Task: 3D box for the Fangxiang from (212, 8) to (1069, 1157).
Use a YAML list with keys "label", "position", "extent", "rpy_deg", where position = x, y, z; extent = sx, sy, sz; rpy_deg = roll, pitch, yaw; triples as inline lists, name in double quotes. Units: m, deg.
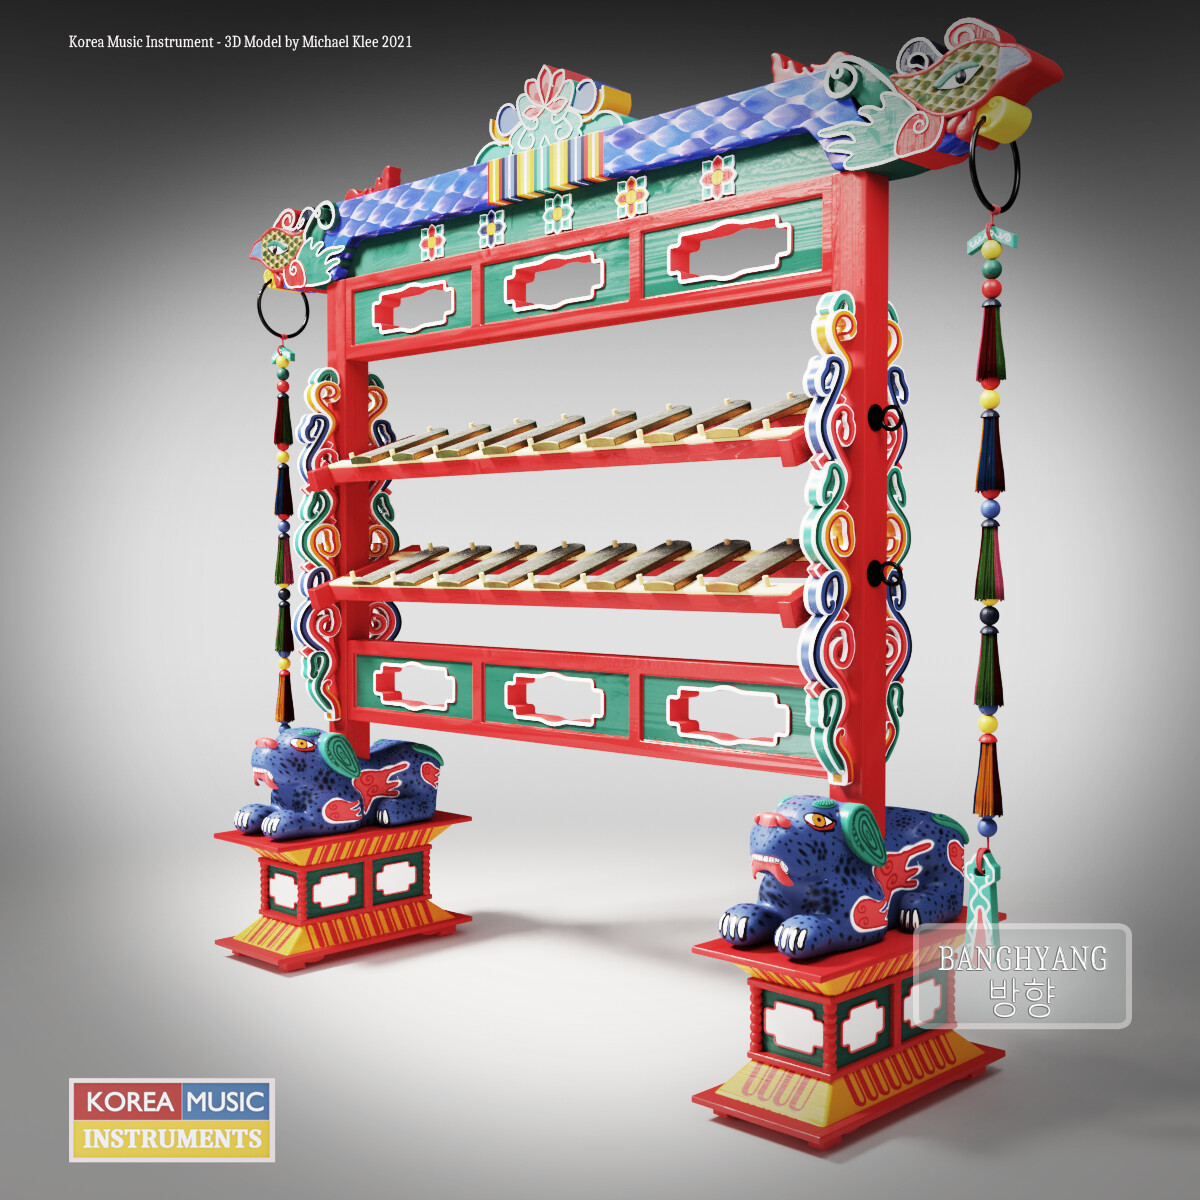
- label: "Fangxiang"
  position: [-0.029, -0.142, 4.239]
  extent: [1.195, 2.514, 3.721]
  rpy_deg: [-11, 11, -34]
